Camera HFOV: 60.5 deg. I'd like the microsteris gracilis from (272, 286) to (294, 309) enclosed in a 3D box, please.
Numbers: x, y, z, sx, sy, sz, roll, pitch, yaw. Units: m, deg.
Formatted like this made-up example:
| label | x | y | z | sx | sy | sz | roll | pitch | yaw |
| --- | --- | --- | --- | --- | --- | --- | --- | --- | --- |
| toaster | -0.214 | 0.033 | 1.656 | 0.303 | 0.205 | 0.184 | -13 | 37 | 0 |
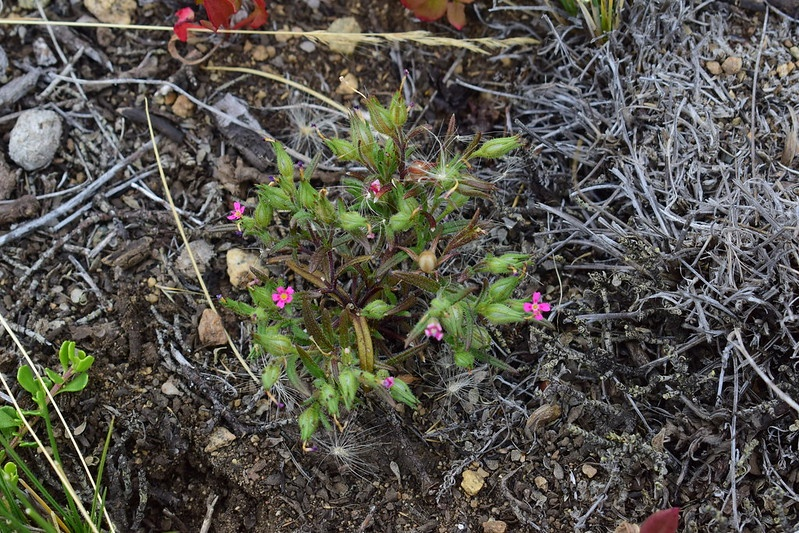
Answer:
| label | x | y | z | sx | sy | sz | roll | pitch | yaw |
| --- | --- | --- | --- | --- | --- | --- | --- | --- | --- |
| microsteris gracilis | -0.558 | 0.147 | 3.286 | 0.104 | 0.126 | 0.083 | 4 | 69 | -8 |
